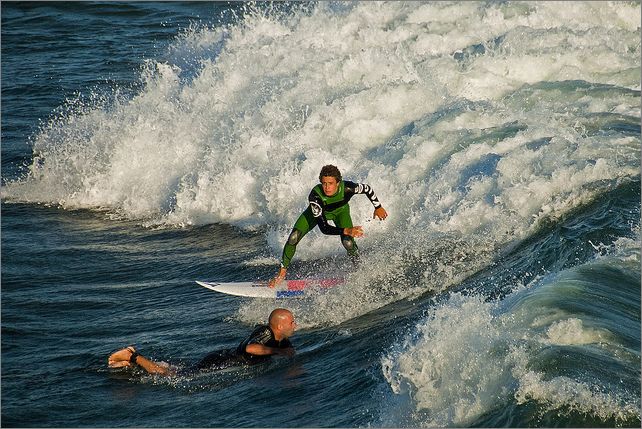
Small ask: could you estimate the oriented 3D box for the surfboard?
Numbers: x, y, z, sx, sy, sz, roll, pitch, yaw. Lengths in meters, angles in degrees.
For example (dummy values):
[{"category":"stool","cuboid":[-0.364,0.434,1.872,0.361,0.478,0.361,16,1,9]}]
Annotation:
[{"category":"surfboard","cuboid":[-1.224,1.866,23.716,3.250,0.225,0.474,-1,42,7]}]
